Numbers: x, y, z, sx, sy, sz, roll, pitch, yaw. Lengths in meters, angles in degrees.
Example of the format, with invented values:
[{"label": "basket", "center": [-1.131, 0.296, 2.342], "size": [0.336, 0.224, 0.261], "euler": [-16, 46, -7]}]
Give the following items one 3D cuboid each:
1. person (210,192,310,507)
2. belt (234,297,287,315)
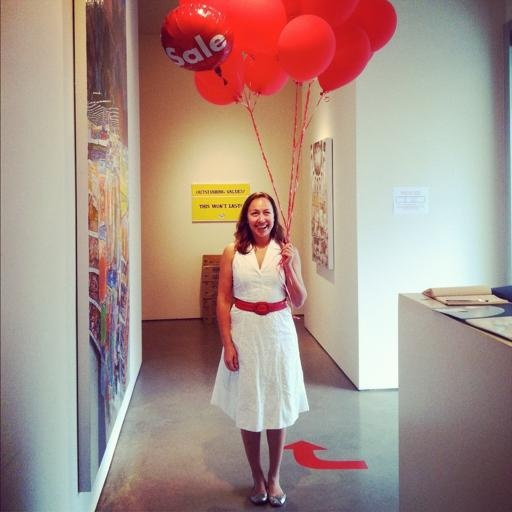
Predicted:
[{"label": "person", "center": [0.019, 0.489, 2.426], "size": [0.517, 1.650, 0.303], "euler": [-1, 2, -8]}, {"label": "belt", "center": [0.031, 0.262, 2.366], "size": [0.291, 0.080, 0.122], "euler": [-1, 4, -5]}]
